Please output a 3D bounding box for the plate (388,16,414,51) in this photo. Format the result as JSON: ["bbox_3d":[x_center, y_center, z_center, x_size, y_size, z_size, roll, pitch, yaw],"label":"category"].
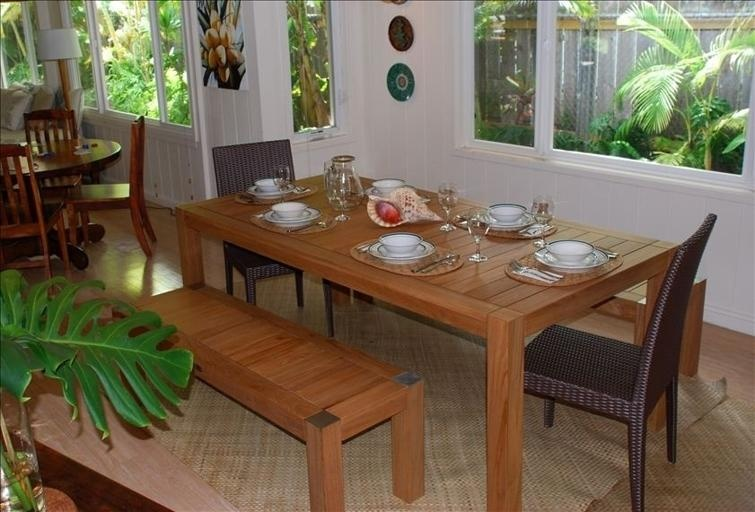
[{"bbox_3d":[0.205,-1.945,4.618,0.260,0.291,0.067,18,31,38],"label":"plate"}]

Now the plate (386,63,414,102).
[{"bbox_3d":[0.207,-1.554,4.724,0.075,0.327,0.288,-22,30,-38],"label":"plate"}]

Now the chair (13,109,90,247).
[{"bbox_3d":[-3.282,-1.029,5.404,0.546,0.861,0.532,-16,68,-28],"label":"chair"}]

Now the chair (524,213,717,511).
[{"bbox_3d":[0.874,0.398,2.099,0.563,1.031,0.521,10,26,25],"label":"chair"}]
